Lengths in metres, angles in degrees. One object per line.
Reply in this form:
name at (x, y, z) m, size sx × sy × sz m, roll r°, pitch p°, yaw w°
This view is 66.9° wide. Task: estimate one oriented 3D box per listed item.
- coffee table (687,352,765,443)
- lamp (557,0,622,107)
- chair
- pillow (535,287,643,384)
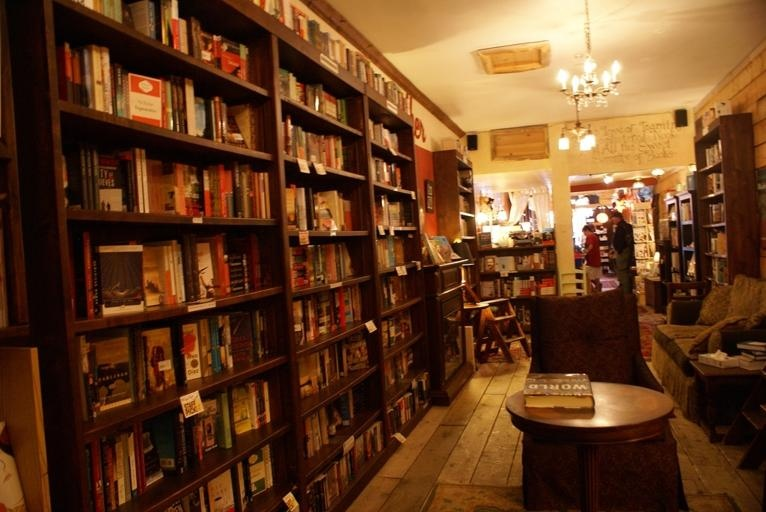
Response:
coffee table at (2.652, 1.111, 4.630) m, size 0.611 × 0.563 × 0.610 m, roll 0°, pitch 0°, yaw 15°
lamp at (2.095, -2.100, 5.850) m, size 0.552 × 1.072 × 0.518 m, roll -5°, pitch -7°, yaw 32°
chair at (1.300, 0.941, 4.180) m, size 1.131 × 1.271 × 1.359 m, roll -1°, pitch 1°, yaw 10°
pillow at (1.491, 0.548, 4.583) m, size 0.844 × 0.904 × 0.686 m, roll 0°, pitch 0°, yaw 11°
